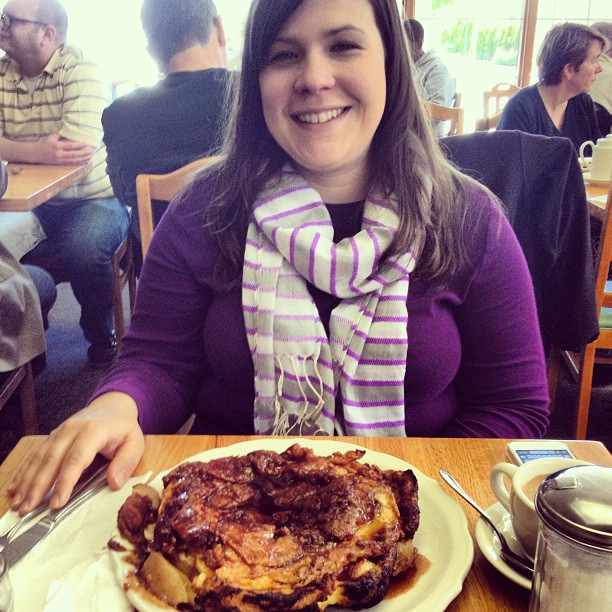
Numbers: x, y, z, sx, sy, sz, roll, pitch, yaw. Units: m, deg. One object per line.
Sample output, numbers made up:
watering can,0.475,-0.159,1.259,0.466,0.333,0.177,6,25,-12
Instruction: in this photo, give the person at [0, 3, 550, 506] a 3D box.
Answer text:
person,0.032,-0.183,1.181,0.883,0.820,0.500,-4,19,-4

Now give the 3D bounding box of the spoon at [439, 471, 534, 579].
spoon,0.203,0.246,0.652,0.023,0.026,0.139,-11,38,-28

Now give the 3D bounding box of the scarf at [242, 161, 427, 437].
scarf,0.052,-0.009,1.177,0.379,0.515,0.297,2,19,13

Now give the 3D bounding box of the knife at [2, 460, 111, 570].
knife,-0.300,0.257,0.720,0.025,0.020,0.236,13,22,8
